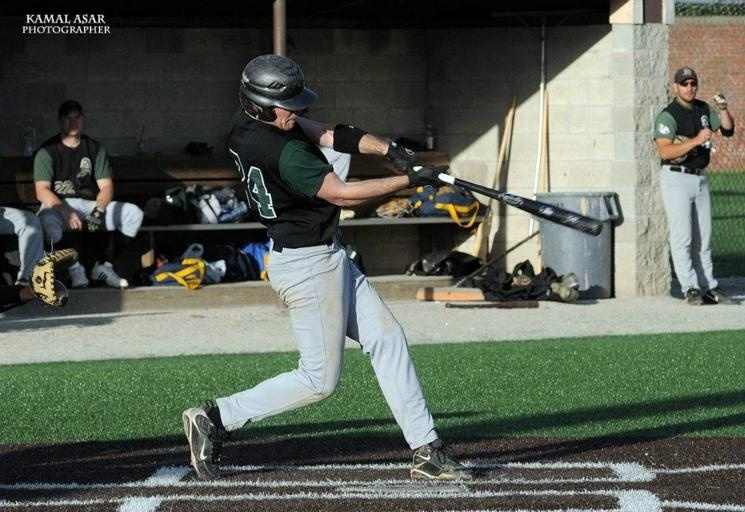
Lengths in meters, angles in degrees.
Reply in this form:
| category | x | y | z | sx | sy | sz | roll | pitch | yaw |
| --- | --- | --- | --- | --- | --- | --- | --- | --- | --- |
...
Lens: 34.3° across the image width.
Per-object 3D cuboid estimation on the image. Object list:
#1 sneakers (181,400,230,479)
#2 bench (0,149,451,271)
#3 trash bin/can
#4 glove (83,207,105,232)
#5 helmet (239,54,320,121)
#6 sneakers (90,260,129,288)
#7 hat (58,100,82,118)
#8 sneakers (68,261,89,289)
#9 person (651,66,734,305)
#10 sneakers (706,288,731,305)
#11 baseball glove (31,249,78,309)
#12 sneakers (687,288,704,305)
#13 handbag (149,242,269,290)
| category | x | y | z | sx | sy | sz | roll | pitch | yaw |
| --- | --- | --- | --- | --- | --- | --- | --- | --- | --- |
| sneakers | -1.219 | 1.432 | 9.108 | 0.213 | 0.639 | 0.293 | -32 | 25 | -36 |
| bench | -1.849 | -0.509 | 12.825 | 5.293 | 0.875 | 1.158 | -1 | -7 | -22 |
| trash bin/can | 2.504 | -0.140 | 14.846 | 1.173 | 1.486 | 1.294 | -1 | 0 | 38 |
| glove | -3.110 | -0.400 | 13.544 | 0.184 | 0.112 | 0.253 | 3 | 47 | -2 |
| helmet | -0.733 | -1.298 | 9.119 | 0.570 | 0.408 | 0.436 | 17 | 40 | 3 |
| sneakers | -3.030 | 0.182 | 13.964 | 0.587 | 0.263 | 0.199 | 16 | 25 | 18 |
| hat | -3.476 | -1.706 | 13.870 | 0.232 | 0.164 | 0.314 | -2 | -21 | -20 |
| sneakers | -3.364 | 0.225 | 13.810 | 0.155 | 0.233 | 0.352 | -12 | 20 | -18 |
| person | 3.619 | -0.774 | 13.723 | 0.850 | 2.690 | 0.823 | 6 | 15 | 25 |
| sneakers | 3.932 | 0.458 | 13.774 | 0.217 | 0.070 | 0.092 | 26 | 59 | 12 |
| baseball glove | -3.323 | 0.243 | 12.540 | 0.423 | 0.572 | 0.348 | 0 | 13 | 1 |
| sneakers | 3.628 | 0.470 | 13.635 | 0.200 | 0.193 | 0.142 | 0 | 2 | 36 |
| handbag | -1.868 | 0.108 | 14.239 | 0.970 | 0.336 | 0.768 | 0 | 3 | -17 |
